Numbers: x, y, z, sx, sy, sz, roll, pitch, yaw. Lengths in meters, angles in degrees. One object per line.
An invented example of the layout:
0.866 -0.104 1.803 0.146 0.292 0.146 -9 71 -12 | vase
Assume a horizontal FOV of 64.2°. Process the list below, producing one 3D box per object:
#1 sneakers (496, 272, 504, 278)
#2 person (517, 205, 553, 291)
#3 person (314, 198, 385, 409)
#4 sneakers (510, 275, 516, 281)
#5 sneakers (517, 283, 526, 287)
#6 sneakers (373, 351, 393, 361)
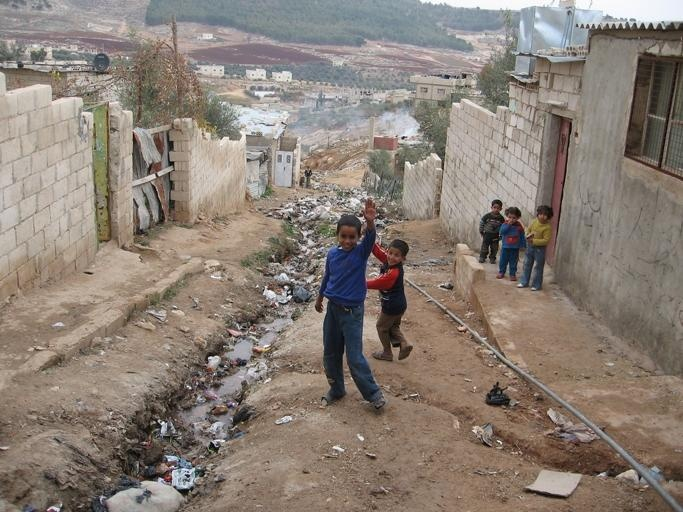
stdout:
2.809 0.353 9.653 0.099 0.104 0.278 0 -1 16 | sneakers
3.254 -0.136 9.092 0.400 1.464 0.582 9 17 18 | person
0.119 0.578 6.033 0.853 2.513 0.395 18 22 40 | person
3.012 0.395 9.588 0.076 0.080 0.214 -2 -3 8 | sneakers
3.085 0.514 9.307 0.144 0.063 0.059 7 0 -18 | sneakers
0.565 1.385 7.502 0.227 0.099 0.117 6 4 16 | sneakers
